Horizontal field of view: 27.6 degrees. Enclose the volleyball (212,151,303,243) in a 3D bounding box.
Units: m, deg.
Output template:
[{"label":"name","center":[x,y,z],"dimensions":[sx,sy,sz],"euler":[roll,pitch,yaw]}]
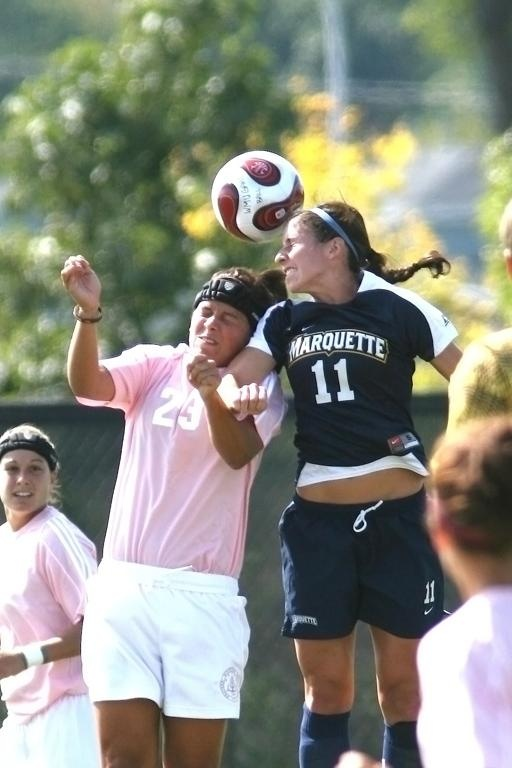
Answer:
[{"label":"volleyball","center":[-0.018,-0.681,3.868],"dimensions":[0.355,0.322,0.325],"euler":[-4,4,-16]}]
